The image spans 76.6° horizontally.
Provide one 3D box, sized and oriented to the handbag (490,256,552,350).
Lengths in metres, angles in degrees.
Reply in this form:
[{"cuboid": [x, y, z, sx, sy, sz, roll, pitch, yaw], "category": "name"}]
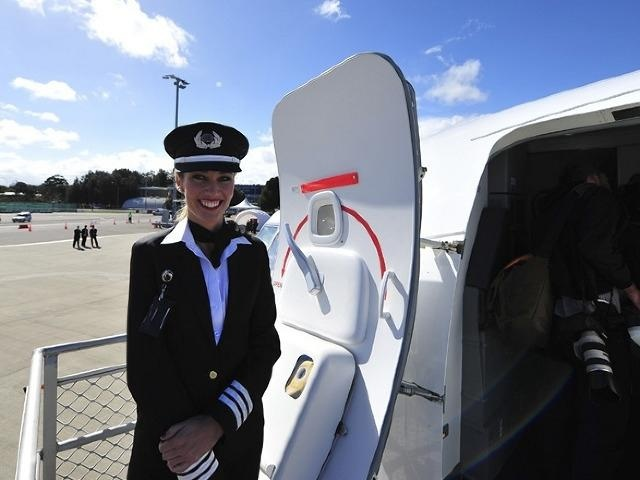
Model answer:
[{"cuboid": [1.465, 0.432, 3.024, 0.464, 0.681, 0.174, 13, -13, -29], "category": "handbag"}]
